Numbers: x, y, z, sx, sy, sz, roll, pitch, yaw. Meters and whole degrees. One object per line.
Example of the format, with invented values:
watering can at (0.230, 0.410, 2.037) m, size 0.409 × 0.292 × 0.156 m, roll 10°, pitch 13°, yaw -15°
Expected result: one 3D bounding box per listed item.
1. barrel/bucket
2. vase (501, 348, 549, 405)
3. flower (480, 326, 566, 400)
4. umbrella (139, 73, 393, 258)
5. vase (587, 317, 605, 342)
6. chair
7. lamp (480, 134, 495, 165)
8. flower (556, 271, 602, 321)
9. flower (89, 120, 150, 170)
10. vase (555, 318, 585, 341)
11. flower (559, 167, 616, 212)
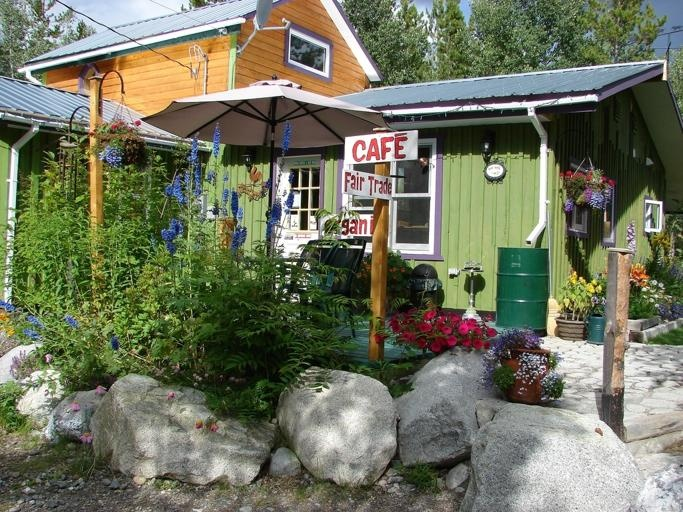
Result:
barrel/bucket at (2.611, 0.509, 7.709) m, size 0.698 × 1.237 × 0.396 m, roll 2°, pitch -2°, yaw -9°
vase at (1.558, 1.047, 4.707) m, size 0.393 × 0.462 × 0.408 m, roll 2°, pitch -12°, yaw 1°
flower at (1.563, 0.957, 4.699) m, size 0.585 × 0.492 × 0.604 m, roll 6°, pitch -7°, yaw -22°
umbrella at (-0.962, -1.098, 6.722) m, size 2.794 × 2.042 × 2.201 m, roll 1°, pitch -2°, yaw 43°
vase at (3.711, 1.090, 7.925) m, size 0.204 × 0.393 × 0.244 m, roll 1°, pitch -2°, yaw 24°
chair at (-0.094, 0.275, 6.214) m, size 0.669 × 1.013 × 2.169 m, roll 2°, pitch -1°, yaw 2°
lamp at (2.349, -1.738, 8.700) m, size 0.209 × 0.500 × 0.203 m, roll 1°, pitch -2°, yaw 15°
flower at (3.833, 0.627, 8.578) m, size 0.661 × 0.873 × 0.756 m, roll -1°, pitch 10°, yaw 11°
flower at (-2.320, -1.191, 5.886) m, size 0.482 × 0.577 × 0.543 m, roll 8°, pitch -7°, yaw -28°
vase at (3.425, 1.110, 8.170) m, size 0.286 × 0.206 × 0.309 m, roll 1°, pitch -4°, yaw -3°
flower at (4.012, -1.090, 9.016) m, size 0.791 × 0.621 × 0.803 m, roll -2°, pitch 9°, yaw -22°
